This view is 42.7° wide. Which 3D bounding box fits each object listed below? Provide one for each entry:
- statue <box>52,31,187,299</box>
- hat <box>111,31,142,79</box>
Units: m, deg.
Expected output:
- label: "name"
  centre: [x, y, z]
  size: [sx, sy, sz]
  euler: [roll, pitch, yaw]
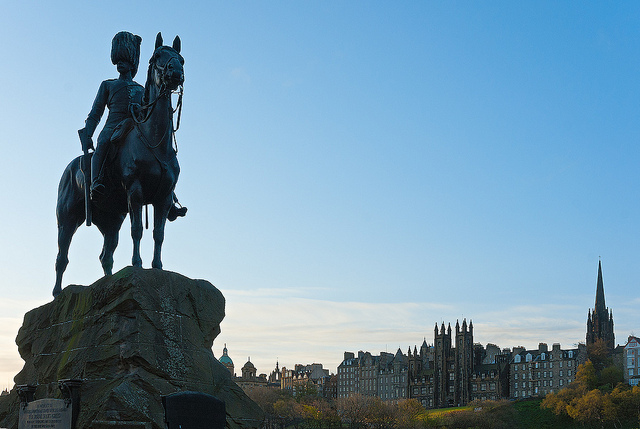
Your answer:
- label: "statue"
  centre: [-5.869, -1.682, 23.955]
  size: [2.670, 7.408, 7.774]
  euler: [7, -17, -41]
- label: "hat"
  centre: [-5.873, -4.774, 24.292]
  size: [0.820, 1.311, 0.768]
  euler: [5, 1, 28]
